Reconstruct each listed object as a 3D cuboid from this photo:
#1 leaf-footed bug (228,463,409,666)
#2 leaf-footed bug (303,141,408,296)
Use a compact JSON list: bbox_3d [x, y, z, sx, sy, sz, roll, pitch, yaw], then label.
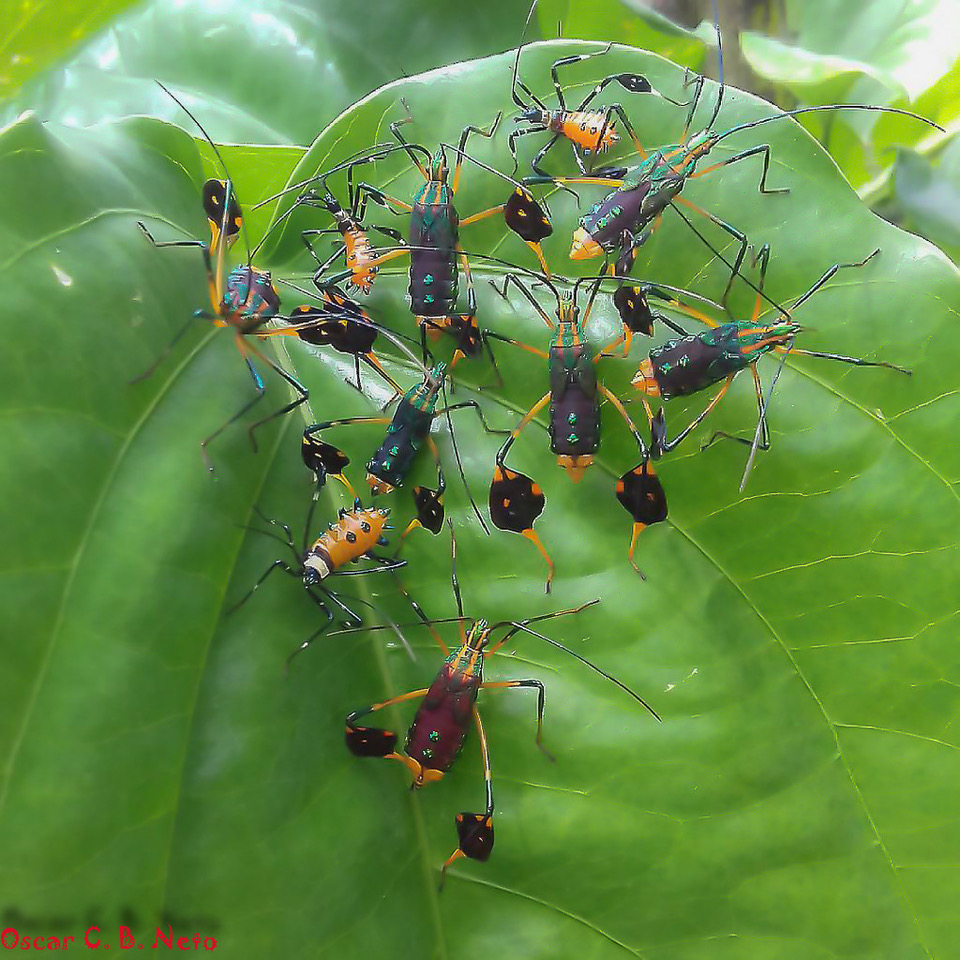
[{"bbox_3d":[-0.397,0.224,2.761,0.131,0.403,0.378,37,21,-13],"label":"leaf-footed bug"},{"bbox_3d":[-0.345,-0.716,2.812,0.323,0.344,0.121,-15,28,3],"label":"leaf-footed bug"}]
